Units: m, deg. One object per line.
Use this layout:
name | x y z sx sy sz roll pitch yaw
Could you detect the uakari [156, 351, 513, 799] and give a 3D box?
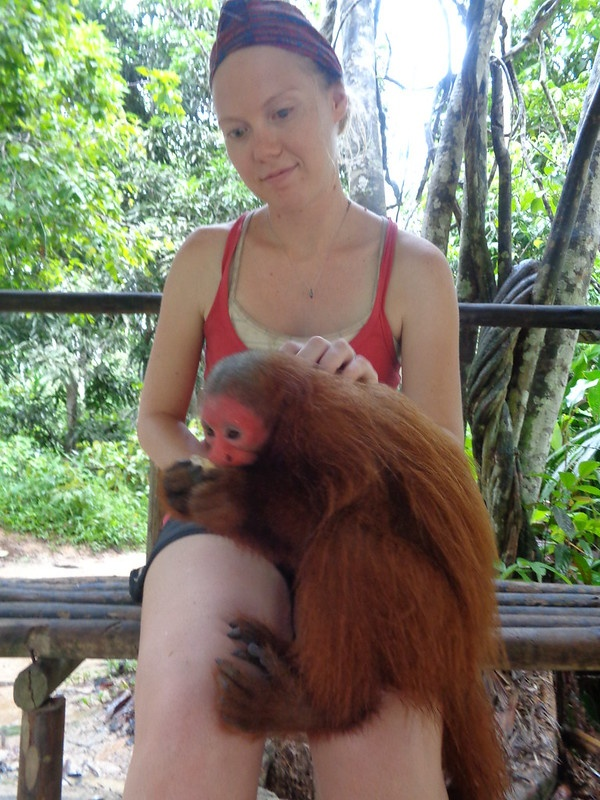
uakari | 0.033 0.203 0.766 0.298 0.556 0.249 4 -15 -4
